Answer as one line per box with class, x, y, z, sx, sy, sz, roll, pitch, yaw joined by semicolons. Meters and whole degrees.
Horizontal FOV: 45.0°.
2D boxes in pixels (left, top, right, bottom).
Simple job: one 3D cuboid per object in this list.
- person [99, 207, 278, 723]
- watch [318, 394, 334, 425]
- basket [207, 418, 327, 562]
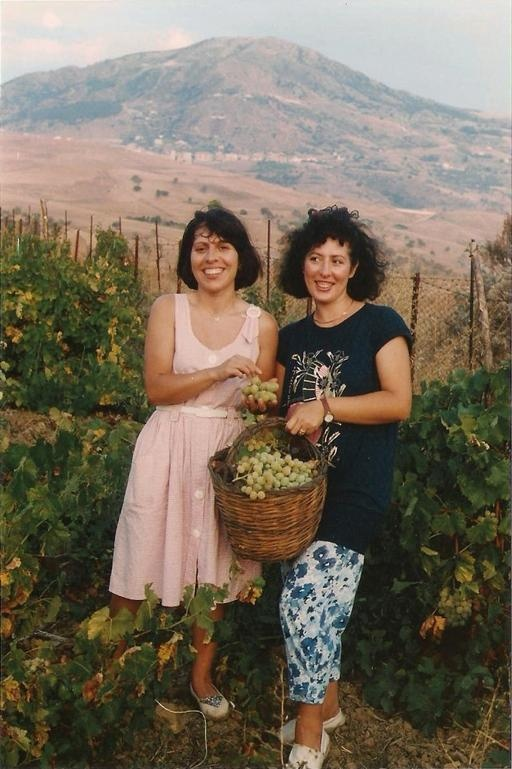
person;-0.203;0.271;2.250;0.615;1.776;0.649;5;1;7
watch;0.225;0.084;2.001;0.051;0.078;0.083;-6;5;2
basket;0.027;0.337;1.915;0.375;0.414;0.378;3;14;6
